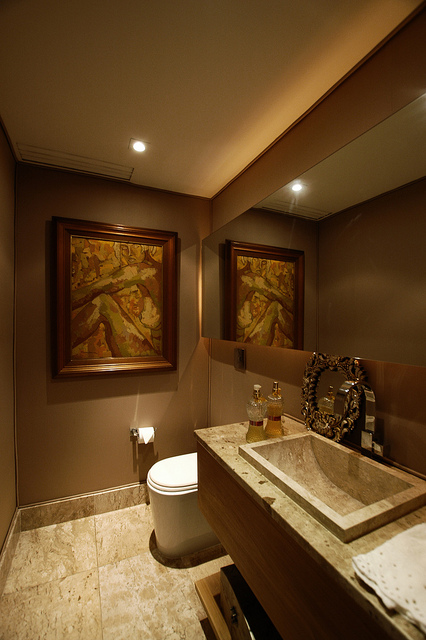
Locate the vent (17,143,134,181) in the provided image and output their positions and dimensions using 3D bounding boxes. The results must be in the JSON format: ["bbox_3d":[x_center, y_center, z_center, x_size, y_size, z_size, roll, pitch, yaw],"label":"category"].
[{"bbox_3d":[-0.740,-0.864,2.174,0.582,0.108,0.190,-8,13,-28],"label":"vent"}]

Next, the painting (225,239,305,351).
[{"bbox_3d":[0.226,-0.114,1.681,0.019,0.455,0.440,-2,7,-18],"label":"painting"}]

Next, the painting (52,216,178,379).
[{"bbox_3d":[-0.575,-0.136,2.424,0.706,1.103,0.087,1,-31,-19],"label":"painting"}]

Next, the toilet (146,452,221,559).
[{"bbox_3d":[-0.127,0.959,2.087,0.404,0.472,0.290,-1,4,-21],"label":"toilet"}]

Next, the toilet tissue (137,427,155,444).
[{"bbox_3d":[-0.407,0.695,2.412,0.093,0.108,0.075,2,10,-31],"label":"toilet tissue"}]

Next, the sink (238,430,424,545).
[{"bbox_3d":[0.360,0.504,1.176,0.193,0.125,0.319,2,5,-21],"label":"sink"}]

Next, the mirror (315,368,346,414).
[{"bbox_3d":[0.441,0.265,1.466,0.017,0.212,0.150,2,2,-13],"label":"mirror"}]

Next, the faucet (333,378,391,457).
[{"bbox_3d":[0.494,0.336,1.275,0.103,0.241,0.098,3,0,-13],"label":"faucet"}]

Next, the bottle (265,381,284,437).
[{"bbox_3d":[0.248,0.341,1.588,0.070,0.166,0.226,0,11,11],"label":"bottle"}]
